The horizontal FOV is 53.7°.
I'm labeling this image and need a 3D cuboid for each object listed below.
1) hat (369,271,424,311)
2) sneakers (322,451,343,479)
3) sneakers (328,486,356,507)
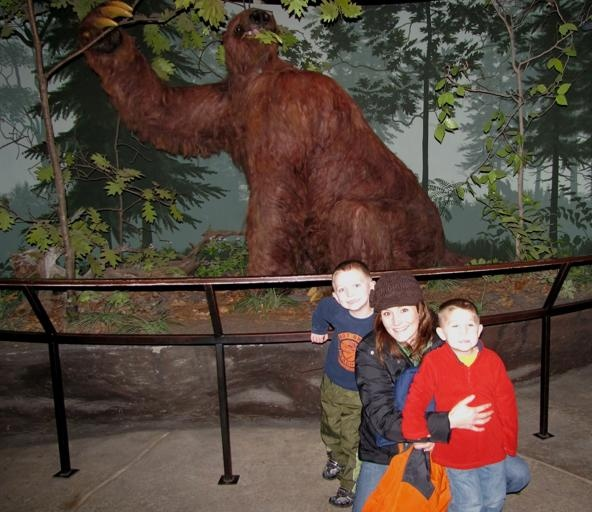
[{"bbox_3d":[0.539,0.190,3.178,0.206,0.117,0.261,-6,-6,20],"label":"hat"},{"bbox_3d":[0.245,1.425,3.960,0.128,0.168,0.184,-2,-2,-16],"label":"sneakers"},{"bbox_3d":[0.285,1.531,3.705,0.165,0.097,0.095,1,-2,26],"label":"sneakers"}]
